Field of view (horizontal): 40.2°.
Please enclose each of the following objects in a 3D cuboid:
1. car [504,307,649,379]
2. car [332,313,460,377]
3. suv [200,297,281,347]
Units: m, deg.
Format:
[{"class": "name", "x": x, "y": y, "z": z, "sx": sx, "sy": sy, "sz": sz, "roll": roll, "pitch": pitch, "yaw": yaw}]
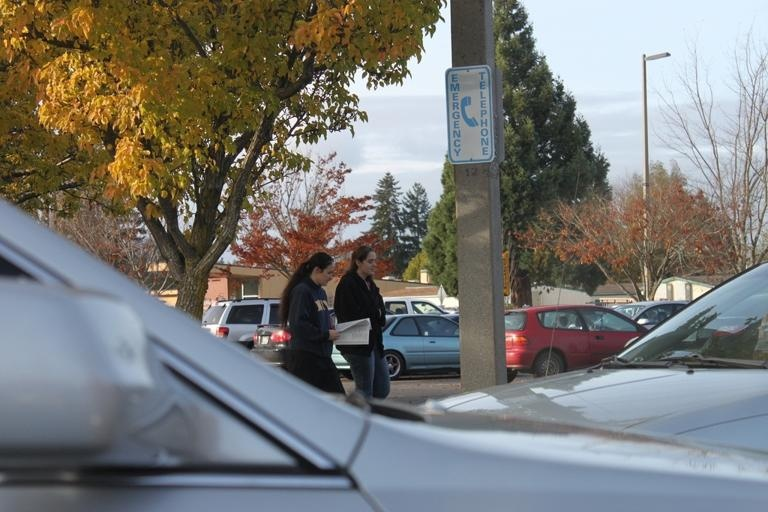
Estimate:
[{"class": "car", "x": 3.337, "y": 1.633, "z": 18.606, "sx": 2.617, "sy": 1.254, "sz": 1.430, "roll": -6, "pitch": 2, "yaw": -18}, {"class": "car", "x": 0.397, "y": 1.762, "z": 20.547, "sx": 1.993, "sy": 0.951, "sz": 1.237, "roll": -6, "pitch": 1, "yaw": -18}, {"class": "suv", "x": -3.305, "y": 1.274, "z": 22.326, "sx": 2.242, "sy": 1.115, "sz": 1.306, "roll": -4, "pitch": 1, "yaw": -19}]
